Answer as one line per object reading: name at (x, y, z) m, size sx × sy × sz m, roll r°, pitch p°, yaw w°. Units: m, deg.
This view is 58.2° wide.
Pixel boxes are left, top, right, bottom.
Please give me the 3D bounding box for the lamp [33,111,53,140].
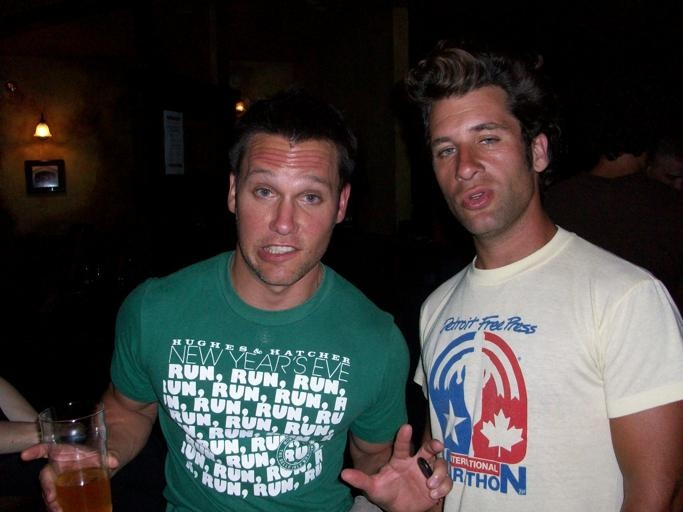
lamp at (-3.394, -1.487, 6.978) m, size 0.234 × 0.382 × 0.231 m, roll 0°, pitch 6°, yaw 0°
